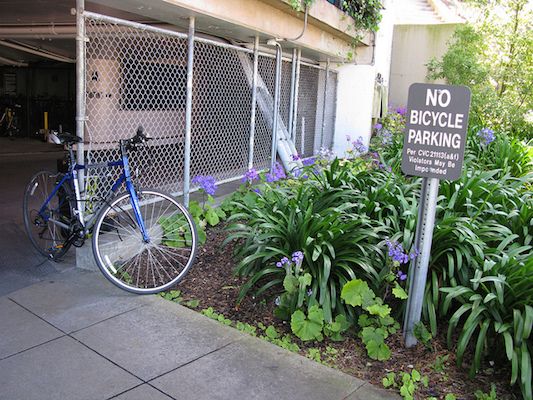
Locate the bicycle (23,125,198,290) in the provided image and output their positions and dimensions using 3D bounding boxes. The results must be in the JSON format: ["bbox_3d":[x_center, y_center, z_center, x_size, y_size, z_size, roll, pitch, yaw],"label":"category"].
[{"bbox_3d":[-1.609,-0.001,4.137,2.040,1.575,1.140,7,14,27],"label":"bicycle"}]
